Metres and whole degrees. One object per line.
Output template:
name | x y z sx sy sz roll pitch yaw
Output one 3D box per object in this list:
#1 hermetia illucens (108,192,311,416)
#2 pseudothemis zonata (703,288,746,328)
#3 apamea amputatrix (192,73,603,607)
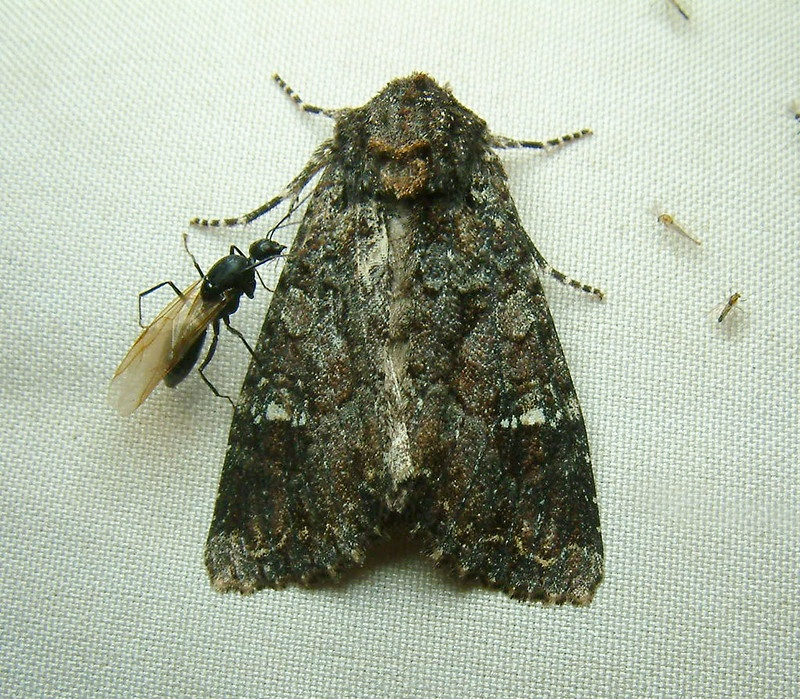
hermetia illucens | -0.567 -0.092 2.976 0.240 0.546 0.736 43 82 8
pseudothemis zonata | 0.996 -0.124 3.065 0.081 0.038 0.110 43 87 2
apamea amputatrix | 0.045 -0.036 2.991 1.070 1.103 1.104 9 41 -5
